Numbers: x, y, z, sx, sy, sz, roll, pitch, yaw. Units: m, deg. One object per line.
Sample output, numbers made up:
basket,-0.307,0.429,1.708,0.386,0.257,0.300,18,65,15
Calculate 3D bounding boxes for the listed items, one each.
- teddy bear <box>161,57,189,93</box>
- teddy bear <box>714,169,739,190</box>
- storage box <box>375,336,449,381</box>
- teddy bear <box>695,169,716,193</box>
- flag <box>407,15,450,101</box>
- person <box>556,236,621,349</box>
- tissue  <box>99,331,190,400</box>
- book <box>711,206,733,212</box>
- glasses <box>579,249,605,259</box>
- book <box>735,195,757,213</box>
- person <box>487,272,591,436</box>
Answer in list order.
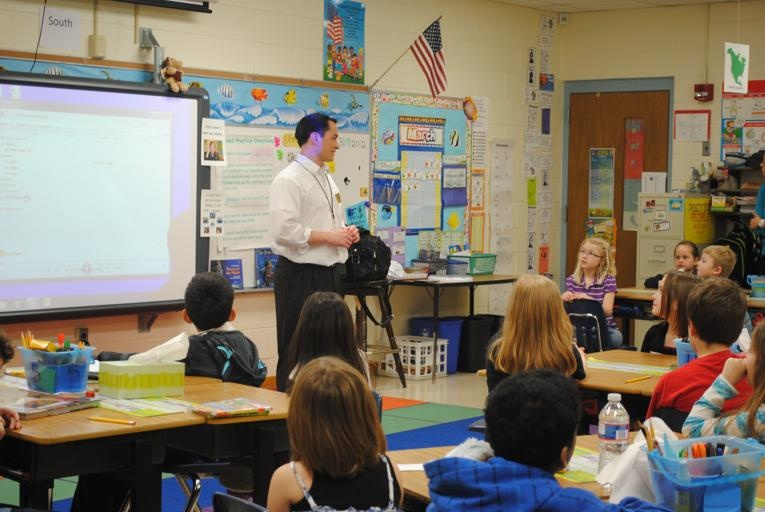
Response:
teddy bear,-1.776,-1.551,5.266,0.173,0.300,0.271,9,8,17
teddy bear,4.236,-0.928,7.594,0.305,0.307,0.190,-1,2,2
storage box,0.412,1.125,6.842,0.526,0.316,0.517,-2,4,-33
teddy bear,3.996,-0.920,7.693,0.240,0.240,0.181,-2,2,24
flag,0.478,-2.148,6.677,0.364,0.821,0.223,1,6,0
person,1.884,0.342,5.713,0.737,0.938,0.521,2,1,43
tissue ,-1.077,0.404,2.820,0.427,0.307,0.228,2,-2,-34
book,4.082,-0.560,7.484,0.230,0.056,0.070,3,7,22
glasses,1.909,-0.020,5.684,0.197,0.068,0.064,3,6,21
book,4.340,-0.613,7.423,0.201,0.132,0.203,-1,2,8
person,0.730,0.490,3.080,0.499,0.720,0.365,1,12,0
